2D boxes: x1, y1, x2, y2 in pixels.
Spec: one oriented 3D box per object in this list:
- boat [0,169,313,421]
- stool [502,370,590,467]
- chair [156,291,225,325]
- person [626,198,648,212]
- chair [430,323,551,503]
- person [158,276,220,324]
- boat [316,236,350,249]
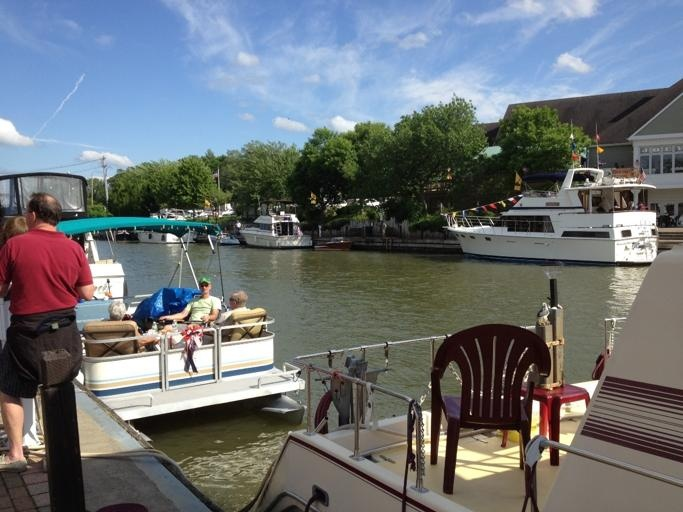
[{"bbox_3d":[-3.822,1.019,10.900,3.643,3.586,6.968,-4,10,-41],"label":"boat"},{"bbox_3d":[1.981,1.439,5.595,0.614,0.446,0.621,13,-1,34],"label":"stool"},{"bbox_3d":[-2.386,0.861,10.122,0.780,0.429,0.474,1,0,-27],"label":"chair"},{"bbox_3d":[16.032,-2.742,32.686,0.572,0.746,1.894,5,9,41],"label":"person"},{"bbox_3d":[1.235,1.228,5.188,1.120,1.328,1.089,0,-1,-33],"label":"chair"},{"bbox_3d":[-2.389,0.722,10.175,0.688,0.560,0.950,7,5,43],"label":"person"},{"bbox_3d":[-0.655,-1.066,50.885,1.159,0.875,3.289,-5,2,-43],"label":"boat"}]
